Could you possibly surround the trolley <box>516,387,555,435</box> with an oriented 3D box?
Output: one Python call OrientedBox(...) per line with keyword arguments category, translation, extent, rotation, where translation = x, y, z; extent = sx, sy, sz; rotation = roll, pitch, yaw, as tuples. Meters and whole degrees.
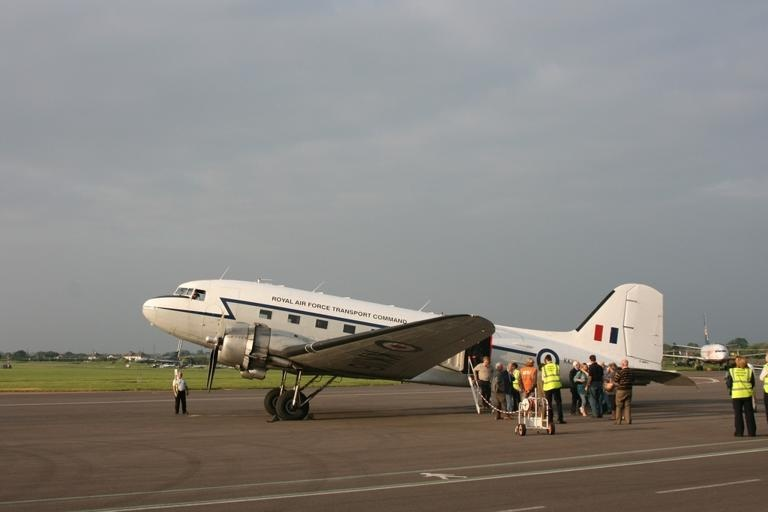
OrientedBox(category="trolley", translation=(4.739, 5.016, 25.303), extent=(1.528, 1.177, 1.464), rotation=(-5, -13, -18))
